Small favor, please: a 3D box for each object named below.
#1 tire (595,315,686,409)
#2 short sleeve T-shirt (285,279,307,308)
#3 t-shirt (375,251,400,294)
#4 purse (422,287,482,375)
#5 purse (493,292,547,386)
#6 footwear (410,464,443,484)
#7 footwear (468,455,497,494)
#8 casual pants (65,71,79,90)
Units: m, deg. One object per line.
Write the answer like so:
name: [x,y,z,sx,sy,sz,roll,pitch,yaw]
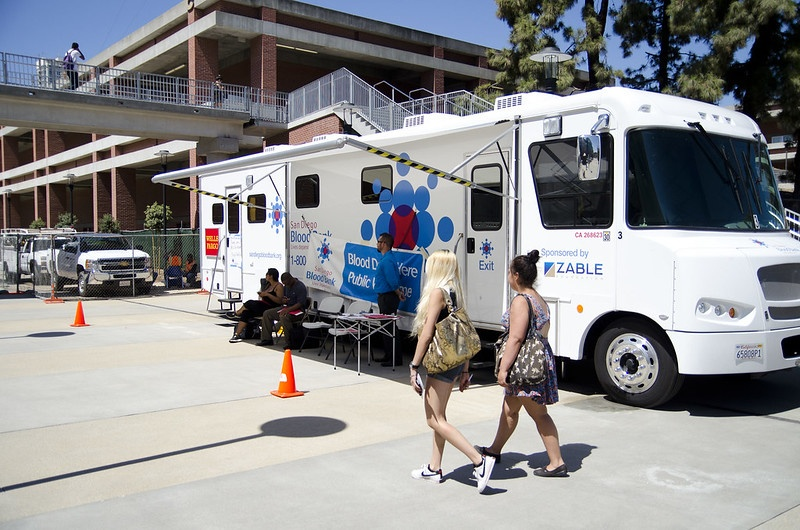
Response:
tire: [3.444,1.343,8.717,0.697,1.331,1.084,-3,8,-42]
short sleeve T-shirt: [-2.191,0.592,12.804,0.483,0.444,0.263,-9,-10,42]
t-shirt: [-0.278,0.155,10.993,0.524,0.983,1.068,1,0,0]
purse: [0.534,0.707,6.347,0.561,0.807,0.266,-4,7,-34]
purse: [1.325,0.778,6.431,0.404,0.923,0.222,1,6,11]
footwear: [0.282,2.212,6.670,0.341,0.165,0.152,3,0,31]
footwear: [0.862,2.100,6.322,0.192,0.474,0.152,14,18,10]
casual pants: [-13.727,-7.694,25.660,0.371,0.811,0.251,-4,7,-33]
